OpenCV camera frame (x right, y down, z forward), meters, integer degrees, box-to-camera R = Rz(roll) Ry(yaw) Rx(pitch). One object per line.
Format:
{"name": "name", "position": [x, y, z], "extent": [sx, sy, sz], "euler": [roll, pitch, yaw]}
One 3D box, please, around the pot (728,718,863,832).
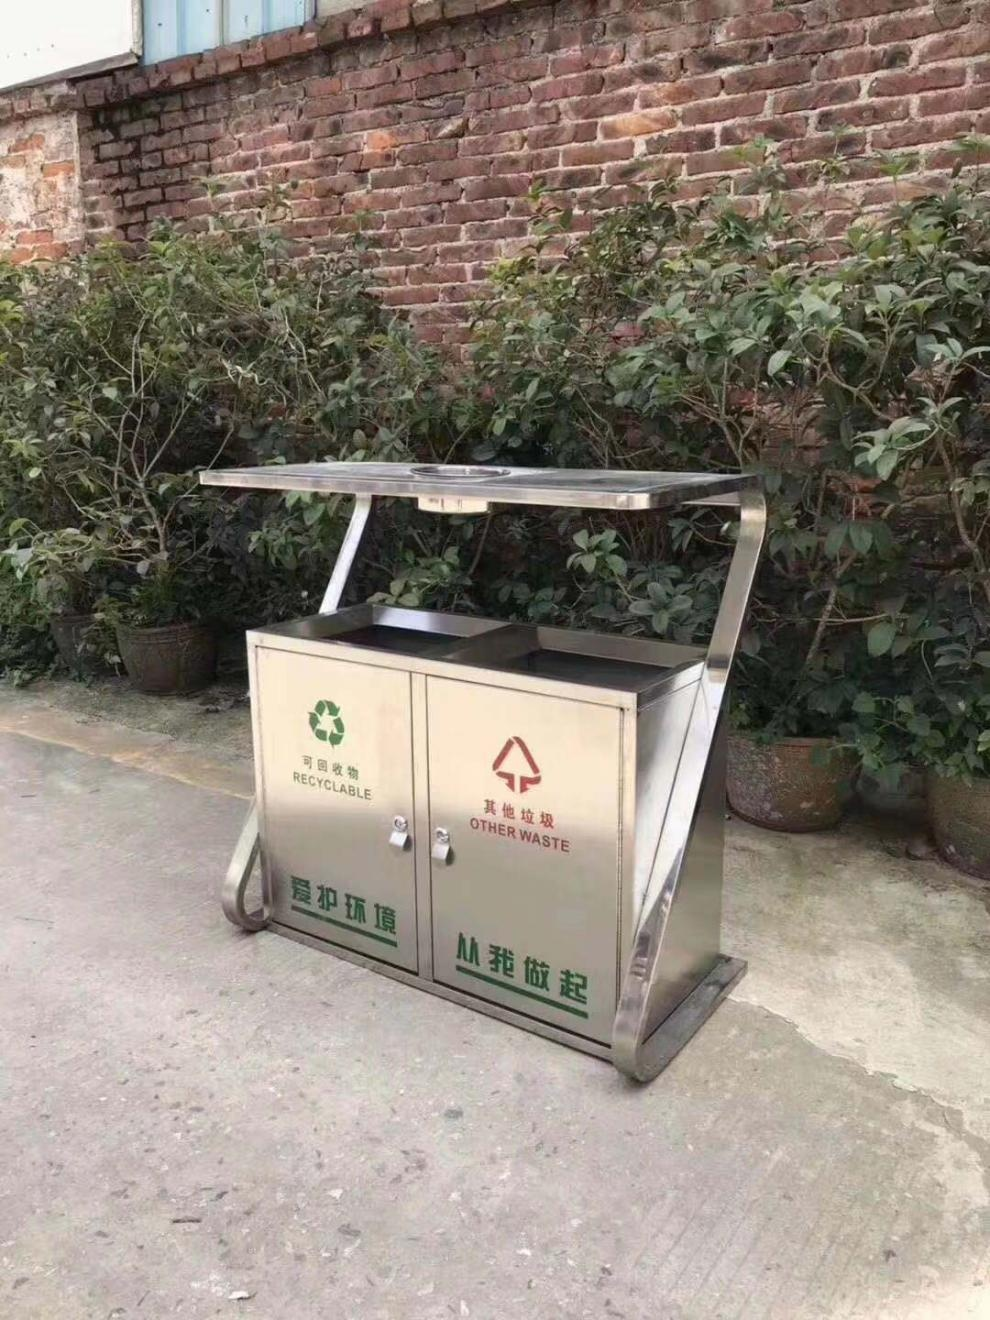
{"name": "pot", "position": [0.983, 0.420, 3.512], "extent": [0.472, 0.295, 0.441], "euler": [4, -2, 0]}

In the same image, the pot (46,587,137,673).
{"name": "pot", "position": [-1.905, -0.139, 5.260], "extent": [0.478, 0.372, 0.440], "euler": [1, 17, 0]}

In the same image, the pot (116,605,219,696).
{"name": "pot", "position": [-1.491, -0.044, 4.916], "extent": [0.411, 0.268, 0.395], "euler": [0, 15, 0]}

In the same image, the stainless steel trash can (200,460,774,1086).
{"name": "stainless steel trash can", "position": [0.022, 0.290, 2.587], "extent": [1.527, 1.259, 0.686], "euler": [10, 18, 32]}
